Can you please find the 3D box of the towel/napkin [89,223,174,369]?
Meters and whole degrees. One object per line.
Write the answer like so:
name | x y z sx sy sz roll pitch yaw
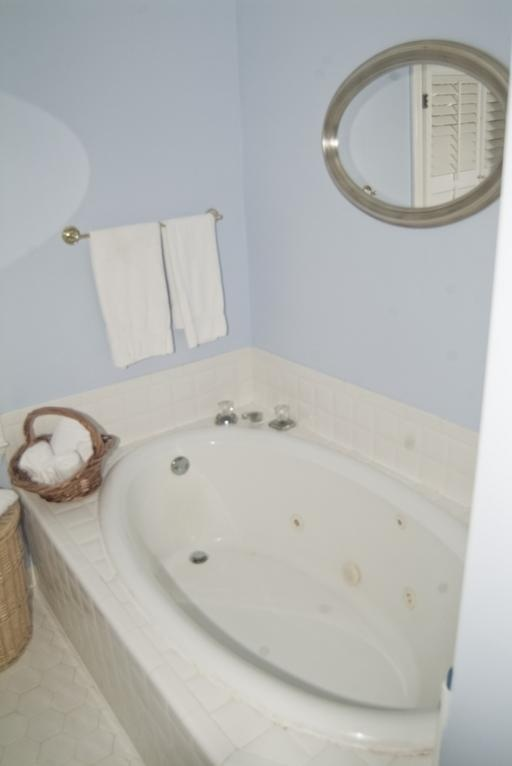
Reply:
towel/napkin | -0.375 -0.282 1.926 0.258 0.410 0.102 -15 20 -27

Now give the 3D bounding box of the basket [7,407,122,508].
basket | -0.544 0.226 1.842 0.267 0.224 0.299 16 29 34
